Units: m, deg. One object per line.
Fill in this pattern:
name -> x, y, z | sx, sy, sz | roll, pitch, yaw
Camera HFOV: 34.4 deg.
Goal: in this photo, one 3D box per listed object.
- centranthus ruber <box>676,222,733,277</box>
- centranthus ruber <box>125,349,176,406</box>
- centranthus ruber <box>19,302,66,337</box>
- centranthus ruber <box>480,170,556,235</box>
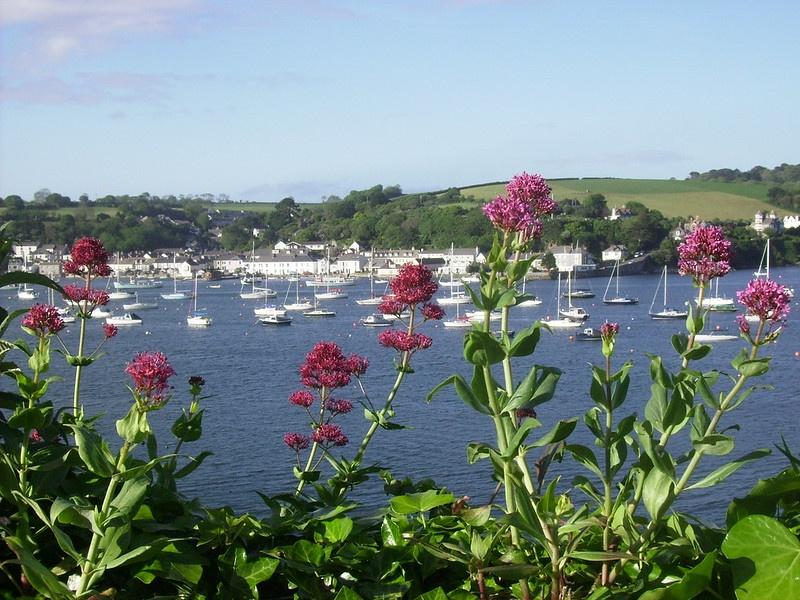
centranthus ruber -> 0.905, -0.142, 3.856 | 0.155, 0.165, 0.196 | 0, 5, 13
centranthus ruber -> -0.707, 0.238, 3.805 | 0.149, 0.163, 0.159 | -4, 12, -22
centranthus ruber -> -1.303, 0.063, 4.746 | 0.128, 0.135, 0.125 | 0, 6, -22
centranthus ruber -> 0.353, -0.280, 3.829 | 0.182, 0.188, 0.255 | 1, 5, 21
